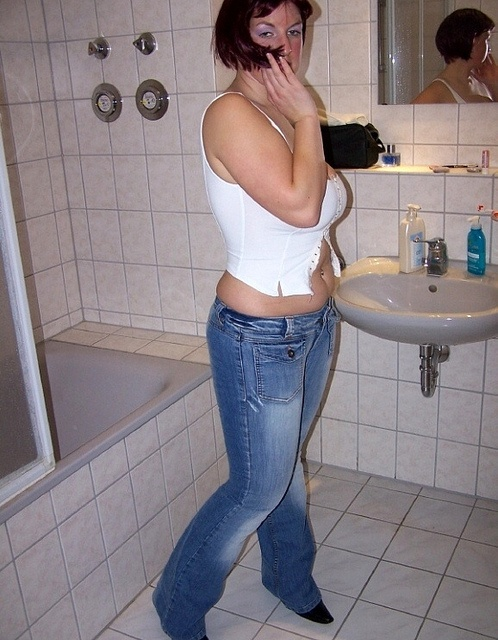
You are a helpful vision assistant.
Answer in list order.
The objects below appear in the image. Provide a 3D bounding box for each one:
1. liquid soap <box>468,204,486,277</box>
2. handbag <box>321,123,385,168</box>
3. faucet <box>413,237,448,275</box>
[{"bbox_3d":[0.632,-0.207,1.511,0.049,0.160,0.088,1,14,22],"label":"liquid soap"},{"bbox_3d":[0.320,-0.532,1.690,0.196,0.127,0.210,8,20,39],"label":"handbag"},{"bbox_3d":[0.516,-0.184,1.545,0.093,0.105,0.078,0,14,19],"label":"faucet"}]
